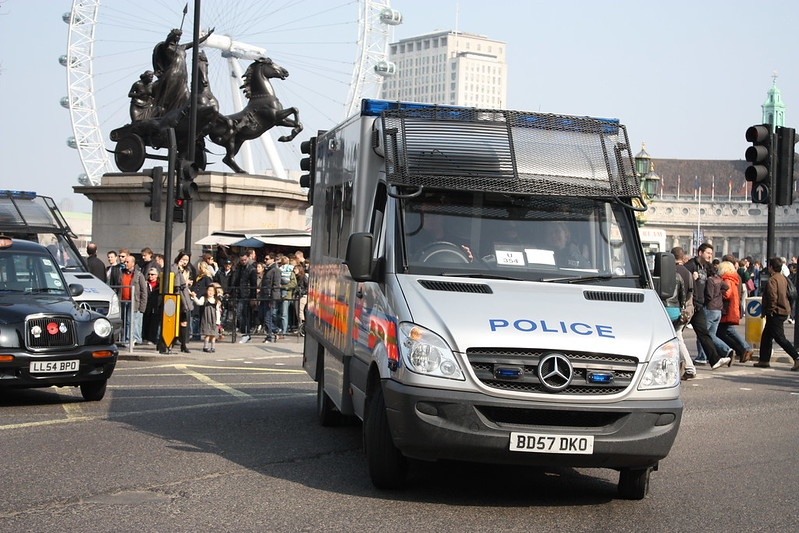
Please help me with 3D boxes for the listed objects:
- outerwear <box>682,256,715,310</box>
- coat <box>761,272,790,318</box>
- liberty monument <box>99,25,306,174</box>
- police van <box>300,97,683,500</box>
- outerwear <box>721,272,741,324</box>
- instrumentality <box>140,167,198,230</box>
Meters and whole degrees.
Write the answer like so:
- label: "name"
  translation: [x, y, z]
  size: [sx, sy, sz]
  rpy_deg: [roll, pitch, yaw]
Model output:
- label: "outerwear"
  translation: [5.835, 0.365, 18.386]
  size: [0.443, 1.401, 0.557]
  rpy_deg: [-9, 21, 19]
- label: "coat"
  translation: [7.273, 0.548, 18.158]
  size: [0.503, 0.881, 0.491]
  rpy_deg: [0, 0, 13]
- label: "liberty monument"
  translation: [-6.815, -5.971, 33.484]
  size: [6.647, 5.121, 4.481]
  rpy_deg: [-2, 8, 11]
- label: "police van"
  translation: [0.746, 0.211, 9.083]
  size: [3.750, 3.433, 2.425]
  rpy_deg: [0, 0, 15]
- label: "outerwear"
  translation: [6.615, 0.635, 19.238]
  size: [0.602, 1.021, 0.800]
  rpy_deg: [-2, 1, 14]
- label: "instrumentality"
  translation: [-4.850, -1.561, 20.000]
  size: [1.276, 1.209, 0.457]
  rpy_deg: [3, 6, 24]
